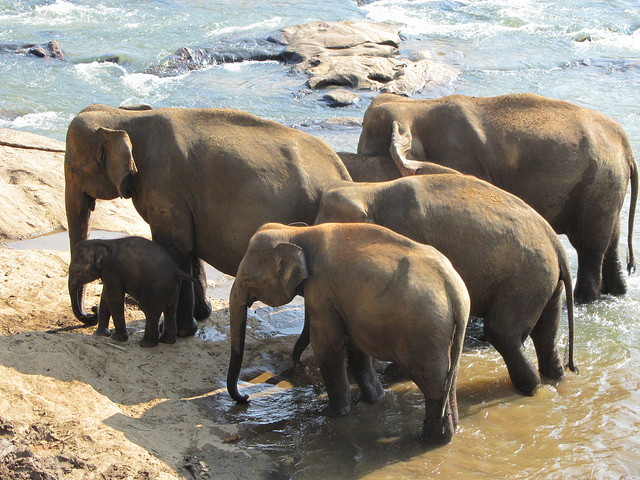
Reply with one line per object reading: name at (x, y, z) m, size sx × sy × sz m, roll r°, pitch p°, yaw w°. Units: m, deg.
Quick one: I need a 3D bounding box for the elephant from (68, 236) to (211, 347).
elephant at (-1.912, 0.499, 10.426) m, size 1.385 × 1.056 × 0.569 m, roll 4°, pitch 2°, yaw 21°

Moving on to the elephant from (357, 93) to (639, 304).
elephant at (1.502, -0.639, 11.086) m, size 3.795 × 2.056 × 1.578 m, roll 8°, pitch 19°, yaw 11°

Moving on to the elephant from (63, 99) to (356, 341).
elephant at (-1.059, -0.244, 10.763) m, size 3.452 × 2.252 × 1.350 m, roll 6°, pitch 24°, yaw 15°
